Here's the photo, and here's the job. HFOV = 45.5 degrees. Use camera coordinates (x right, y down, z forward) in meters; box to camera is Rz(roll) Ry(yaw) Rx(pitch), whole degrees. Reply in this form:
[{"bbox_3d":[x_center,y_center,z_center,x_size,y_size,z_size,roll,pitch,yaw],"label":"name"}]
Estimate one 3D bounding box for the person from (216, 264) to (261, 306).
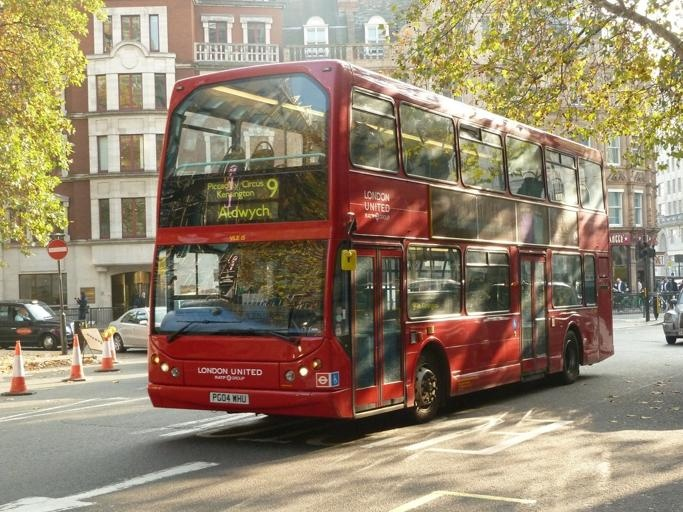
[{"bbox_3d":[-1.455,0.494,11.791,0.703,0.737,0.478,-4,-7,28],"label":"person"}]
